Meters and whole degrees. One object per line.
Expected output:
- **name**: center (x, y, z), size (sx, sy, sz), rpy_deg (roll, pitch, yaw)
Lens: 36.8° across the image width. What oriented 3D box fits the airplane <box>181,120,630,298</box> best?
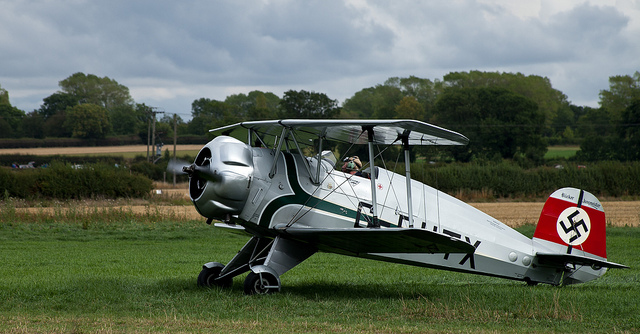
- **airplane**: center (8.770, 5.448, 97.553), size (44.370, 13.681, 40.813), rpy_deg (5, -9, -3)
